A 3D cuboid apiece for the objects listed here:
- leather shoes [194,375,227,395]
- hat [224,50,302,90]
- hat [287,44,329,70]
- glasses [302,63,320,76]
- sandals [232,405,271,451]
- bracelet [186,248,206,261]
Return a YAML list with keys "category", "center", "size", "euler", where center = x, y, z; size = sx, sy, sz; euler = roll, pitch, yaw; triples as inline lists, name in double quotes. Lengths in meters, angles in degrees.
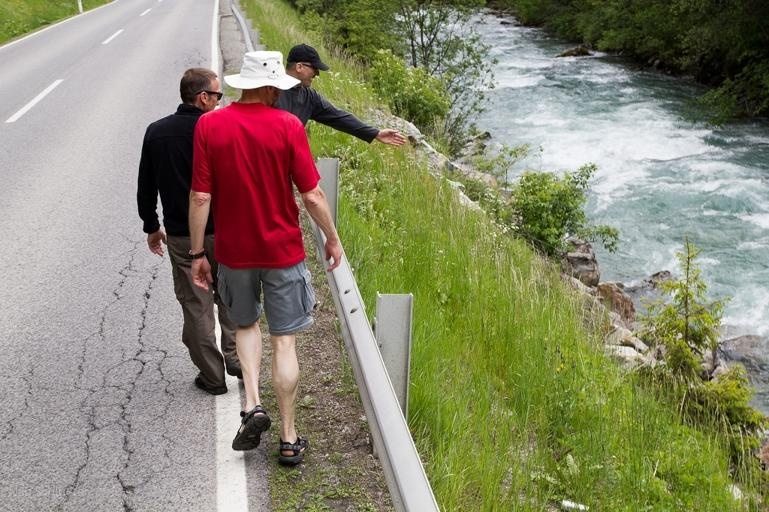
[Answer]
- category: "leather shoes"
  center: [-1.807, 1.374, 6.603]
  size: [0.348, 0.152, 0.152]
  euler: [31, 41, 23]
- category: "hat"
  center: [-1.119, -1.687, 5.768]
  size: [0.625, 0.322, 0.329]
  euler: [-4, 33, -16]
- category: "hat"
  center: [-0.912, -2.359, 7.522]
  size: [0.466, 0.294, 0.318]
  euler: [2, 27, -10]
- category: "glasses"
  center: [-0.936, -2.236, 7.597]
  size: [0.133, 0.094, 0.181]
  euler: [-5, 27, -27]
- category: "sandals"
  center: [-1.225, 1.602, 5.888]
  size: [0.222, 0.537, 0.242]
  euler: [17, 28, -20]
- category: "bracelet"
  center: [-1.813, -0.008, 6.125]
  size: [0.143, 0.163, 0.152]
  euler: [2, 5, -20]
